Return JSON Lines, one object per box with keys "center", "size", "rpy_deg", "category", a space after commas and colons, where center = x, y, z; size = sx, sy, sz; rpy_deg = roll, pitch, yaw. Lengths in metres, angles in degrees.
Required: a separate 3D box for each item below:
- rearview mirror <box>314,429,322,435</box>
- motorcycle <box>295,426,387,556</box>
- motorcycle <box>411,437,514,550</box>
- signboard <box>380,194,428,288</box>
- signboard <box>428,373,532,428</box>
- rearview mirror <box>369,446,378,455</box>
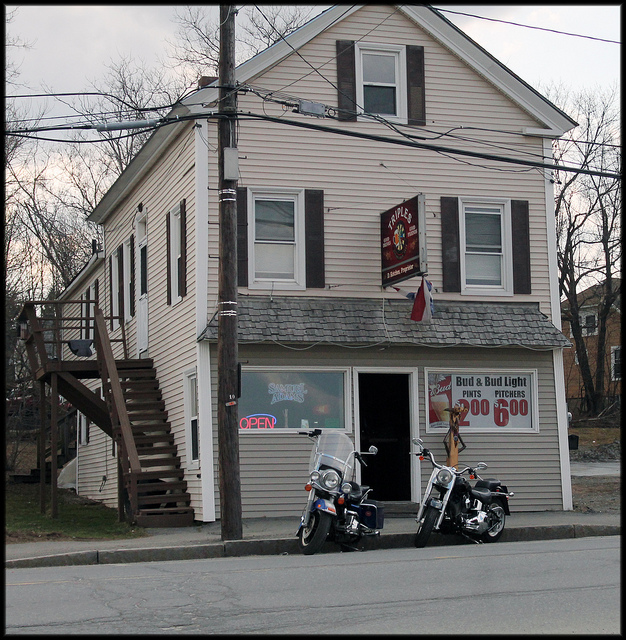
{"center": [0.065, 1.665, 18.097], "size": [0.061, 0.090, 0.115], "rpy_deg": [-5, -8, 39], "category": "rearview mirror"}
{"center": [0.382, 2.521, 17.815], "size": [1.201, 1.844, 0.809], "rpy_deg": [4, -7, -31], "category": "motorcycle"}
{"center": [2.286, 2.719, 18.842], "size": [1.002, 1.674, 2.203], "rpy_deg": [-1, -3, 45], "category": "motorcycle"}
{"center": [1.625, -1.430, 21.622], "size": [0.198, 1.405, 1.900], "rpy_deg": [2, -7, -19], "category": "signboard"}
{"center": [3.163, 1.531, 22.842], "size": [2.029, 1.336, 0.112], "rpy_deg": [0, 23, 8], "category": "signboard"}
{"center": [0.901, 1.935, 18.089], "size": [0.094, 0.164, 0.061], "rpy_deg": [0, -13, 19], "category": "rearview mirror"}
